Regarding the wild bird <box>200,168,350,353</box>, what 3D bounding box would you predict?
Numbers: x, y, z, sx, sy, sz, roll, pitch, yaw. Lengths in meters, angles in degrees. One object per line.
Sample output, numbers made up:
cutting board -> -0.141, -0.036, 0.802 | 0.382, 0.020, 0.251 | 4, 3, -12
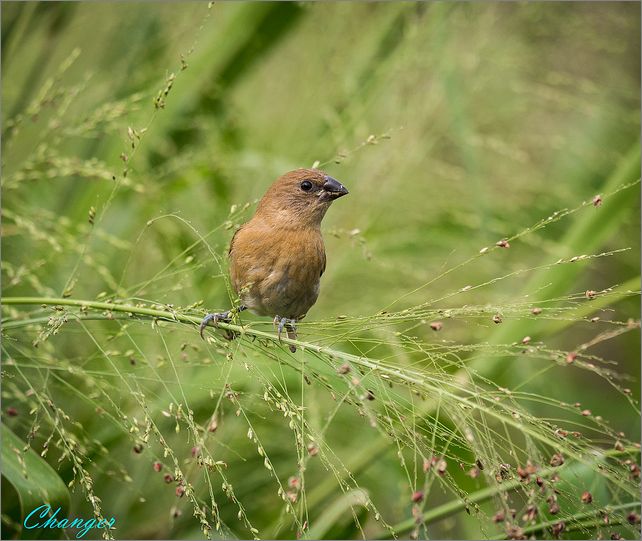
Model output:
wild bird -> -0.255, -0.073, 3.578 | 0.633, 1.031, 0.542 | 12, 23, 6
